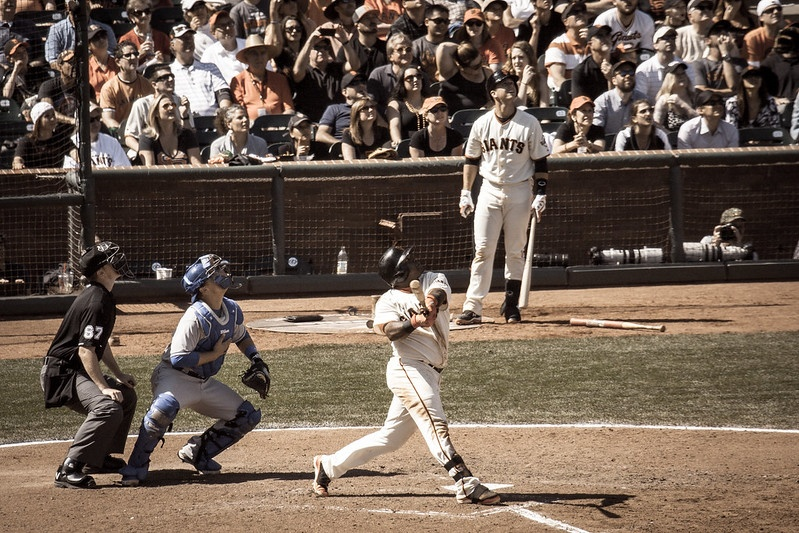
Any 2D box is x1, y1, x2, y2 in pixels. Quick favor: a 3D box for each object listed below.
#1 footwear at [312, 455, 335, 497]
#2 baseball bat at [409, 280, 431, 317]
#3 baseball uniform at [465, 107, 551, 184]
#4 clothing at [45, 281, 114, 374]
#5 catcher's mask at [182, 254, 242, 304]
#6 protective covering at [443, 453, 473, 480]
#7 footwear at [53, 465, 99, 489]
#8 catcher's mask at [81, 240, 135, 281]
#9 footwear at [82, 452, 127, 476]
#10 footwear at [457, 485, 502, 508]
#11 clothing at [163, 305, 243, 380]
[{"bbox_3d":[-0.838,2.276,17.278,0.233,0.446,0.165,-6,-5,30],"label":"footwear"},{"bbox_3d":[0.241,0.323,17.061,0.121,0.466,0.134,-23,4,-30],"label":"baseball bat"},{"bbox_3d":[1.453,-1.571,21.494,1.343,1.026,0.615,2,12,8],"label":"baseball uniform"},{"bbox_3d":[-3.503,0.684,17.886,0.629,0.993,1.091,13,5,-13],"label":"clothing"},{"bbox_3d":[-2.111,0.142,17.695,0.512,0.494,0.205,0,3,-4],"label":"catcher's mask"},{"bbox_3d":[0.627,2.166,17.135,0.183,0.306,0.238,-37,4,25],"label":"protective covering"},{"bbox_3d":[-3.532,2.308,17.502,0.435,0.251,0.226,1,4,4],"label":"footwear"},{"bbox_3d":[-3.340,-0.014,17.894,0.614,0.444,0.424,-20,11,-23],"label":"catcher's mask"},{"bbox_3d":[-3.264,2.207,17.768,0.464,0.204,0.188,-5,9,-15],"label":"footwear"},{"bbox_3d":[0.862,2.457,16.968,0.430,0.163,0.210,-2,0,9],"label":"footwear"},{"bbox_3d":[-2.170,0.897,18.037,0.571,0.769,0.879,32,17,27],"label":"clothing"}]
